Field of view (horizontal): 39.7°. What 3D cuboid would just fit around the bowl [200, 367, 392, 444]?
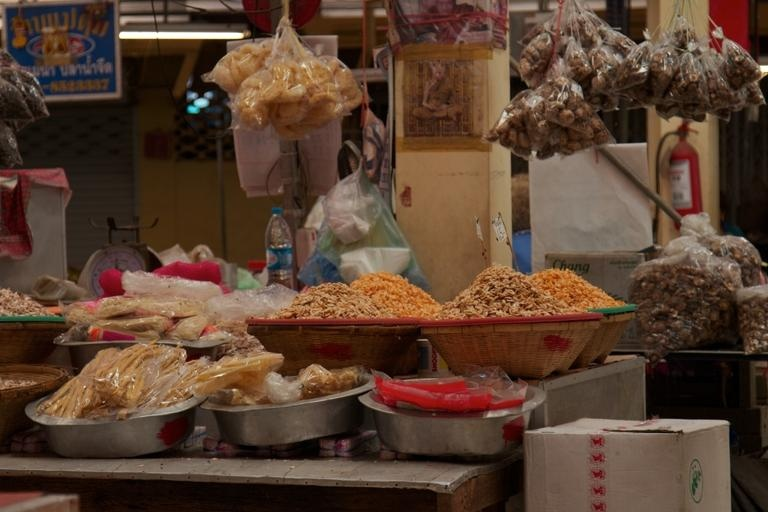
[{"bbox_3d":[-0.410,0.685,5.121,0.603,0.280,0.736,-11,3,18],"label":"bowl"}]
